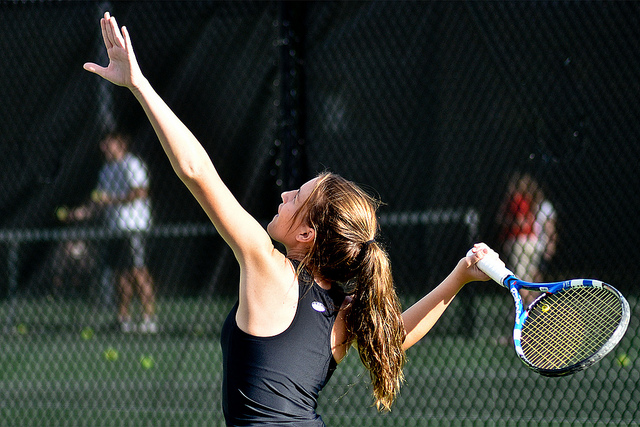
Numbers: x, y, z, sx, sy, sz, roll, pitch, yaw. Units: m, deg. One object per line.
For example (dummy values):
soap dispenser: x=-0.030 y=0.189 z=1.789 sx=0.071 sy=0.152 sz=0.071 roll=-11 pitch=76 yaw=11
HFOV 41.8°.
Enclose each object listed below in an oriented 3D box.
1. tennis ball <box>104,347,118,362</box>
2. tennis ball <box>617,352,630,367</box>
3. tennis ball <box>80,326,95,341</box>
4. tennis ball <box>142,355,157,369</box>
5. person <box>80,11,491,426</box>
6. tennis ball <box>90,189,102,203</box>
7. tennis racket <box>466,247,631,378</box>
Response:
tennis ball: x=-1.417 y=0.954 z=5.667 sx=0.066 sy=0.095 sz=0.034 roll=9 pitch=8 yaw=3
tennis ball: x=1.999 y=0.966 z=5.526 sx=0.063 sy=0.078 sz=0.067 roll=1 pitch=74 yaw=-5
tennis ball: x=-1.576 y=0.807 z=5.668 sx=0.104 sy=0.054 sz=0.069 roll=9 pitch=47 yaw=13
tennis ball: x=-1.154 y=1.001 z=5.660 sx=0.098 sy=0.078 sz=0.050 roll=-7 pitch=42 yaw=-1
person: x=-0.226 y=0.214 z=4.433 sx=1.317 sy=1.505 sz=1.163 roll=-6 pitch=43 yaw=-1
tennis ball: x=-1.522 y=-0.116 z=5.682 sx=0.080 sy=0.057 sz=0.056 roll=-2 pitch=44 yaw=3
tennis racket: x=1.442 y=0.600 z=5.196 sx=0.327 sy=0.067 sz=0.769 roll=-39 pitch=63 yaw=-7
